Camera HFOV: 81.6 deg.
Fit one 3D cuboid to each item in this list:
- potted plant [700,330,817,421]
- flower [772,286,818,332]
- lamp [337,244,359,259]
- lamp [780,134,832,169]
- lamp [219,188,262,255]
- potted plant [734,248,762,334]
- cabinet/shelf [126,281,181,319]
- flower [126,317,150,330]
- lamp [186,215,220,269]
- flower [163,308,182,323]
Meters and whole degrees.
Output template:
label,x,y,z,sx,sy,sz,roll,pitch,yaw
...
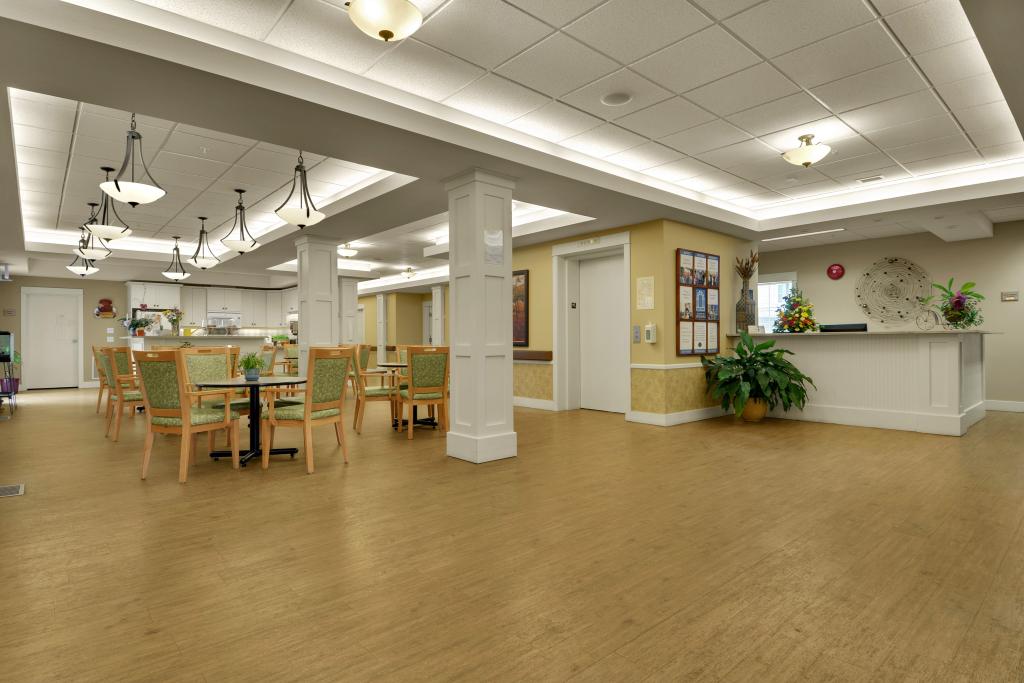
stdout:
label,x,y,z,sx,sy,sz,roll,pitch,yaw
potted plant,3.853,0.557,9.256,1.425,1.016,1.441,1,-2,2
flower,4.600,-0.403,9.504,0.634,0.564,0.616,8,15,35
lamp,-3.315,-1.811,11.934,0.351,0.234,0.348,3,1,-8
lamp,3.557,-2.300,7.154,0.506,0.392,0.509,0,-8,3
lamp,-4.726,-2.119,10.329,0.597,0.976,0.607,-5,-10,26
potted plant,4.053,-0.844,10.208,0.390,1.249,1.123,4,14,20
cabinet/shelf,-9.497,-1.089,15.509,1.135,1.043,0.429,2,-5,-42
flower,-8.946,-0.413,14.276,0.486,0.304,0.467,0,-7,14
lamp,-6.177,-2.018,11.808,0.713,1.221,0.690,-1,-3,-25
flower,-7.707,-0.591,13.470,0.411,0.342,0.402,-5,5,-28
